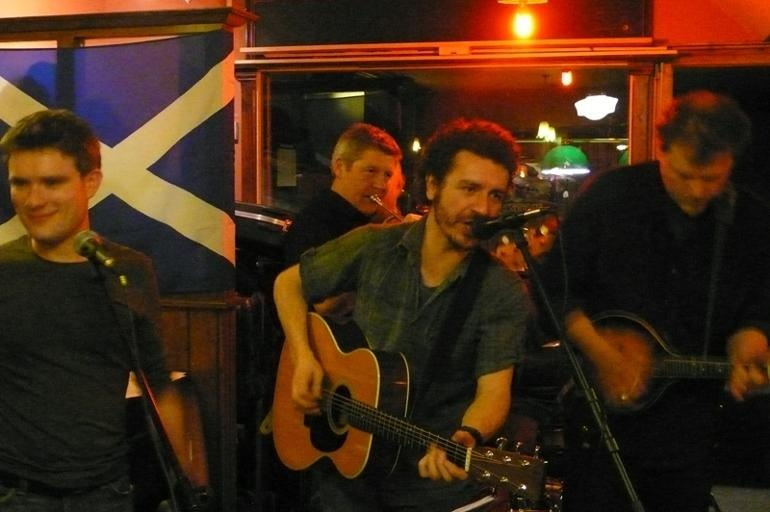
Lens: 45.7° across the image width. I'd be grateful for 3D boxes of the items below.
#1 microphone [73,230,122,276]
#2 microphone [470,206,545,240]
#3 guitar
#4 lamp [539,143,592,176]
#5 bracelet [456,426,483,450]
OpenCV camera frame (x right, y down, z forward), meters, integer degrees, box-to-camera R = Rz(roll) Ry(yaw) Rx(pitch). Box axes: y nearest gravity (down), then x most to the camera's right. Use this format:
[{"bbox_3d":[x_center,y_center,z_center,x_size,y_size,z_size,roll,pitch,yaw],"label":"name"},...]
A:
[{"bbox_3d":[-1.192,-0.037,3.777,0.114,0.096,0.327,-27,40,-25],"label":"microphone"},{"bbox_3d":[0.517,-0.131,3.814,0.245,0.129,0.488,-1,2,-2],"label":"microphone"},{"bbox_3d":[0.020,0.639,4.034,1.342,0.754,0.211,0,3,38],"label":"guitar"},{"bbox_3d":[0.809,-0.426,4.100,0.177,0.098,0.168,0,7,13],"label":"lamp"},{"bbox_3d":[0.366,0.775,3.927,0.103,0.073,0.109,-1,2,10],"label":"bracelet"}]
